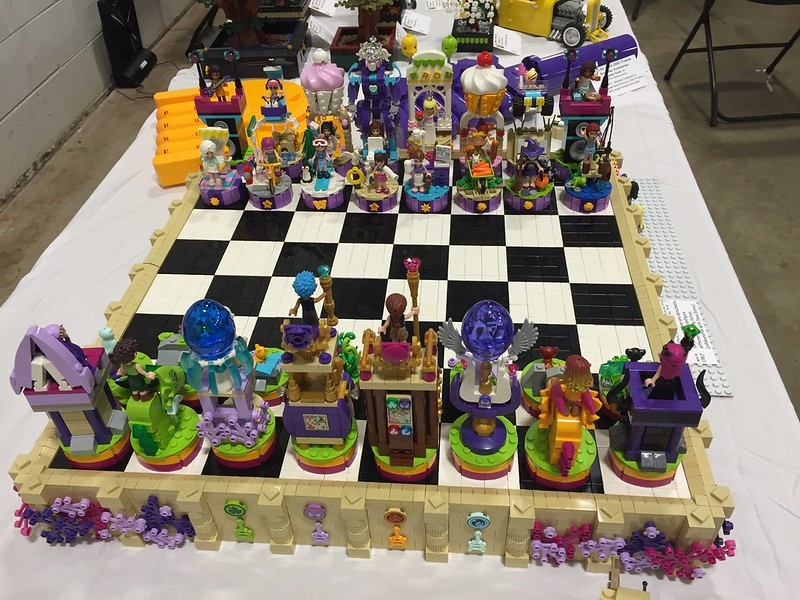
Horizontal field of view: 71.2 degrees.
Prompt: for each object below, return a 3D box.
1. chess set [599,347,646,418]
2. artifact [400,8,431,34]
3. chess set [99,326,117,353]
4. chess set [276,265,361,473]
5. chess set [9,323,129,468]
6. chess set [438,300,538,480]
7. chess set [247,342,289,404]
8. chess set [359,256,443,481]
[{"bbox_3d":[1.194,0.407,3.019,0.268,0.279,0.206,-6,5,-23],"label":"chess set"},{"bbox_3d":[0.208,-3.616,7.282,0.358,0.092,0.406,5,66,-1],"label":"artifact"},{"bbox_3d":[-1.509,0.200,2.895,0.068,0.127,0.065,12,51,-10],"label":"chess set"},{"bbox_3d":[-0.404,0.357,2.780,0.359,0.909,0.524,-2,37,-3],"label":"chess set"},{"bbox_3d":[-1.617,0.470,2.798,0.330,0.802,0.407,30,46,33],"label":"chess set"},{"bbox_3d":[0.423,0.444,2.741,0.423,0.858,0.413,0,24,5],"label":"chess set"},{"bbox_3d":[-0.721,0.399,3.104,0.290,0.120,0.299,3,44,3],"label":"chess set"},{"bbox_3d":[0.010,0.360,2.746,0.412,0.946,0.556,-2,37,-3],"label":"chess set"}]
